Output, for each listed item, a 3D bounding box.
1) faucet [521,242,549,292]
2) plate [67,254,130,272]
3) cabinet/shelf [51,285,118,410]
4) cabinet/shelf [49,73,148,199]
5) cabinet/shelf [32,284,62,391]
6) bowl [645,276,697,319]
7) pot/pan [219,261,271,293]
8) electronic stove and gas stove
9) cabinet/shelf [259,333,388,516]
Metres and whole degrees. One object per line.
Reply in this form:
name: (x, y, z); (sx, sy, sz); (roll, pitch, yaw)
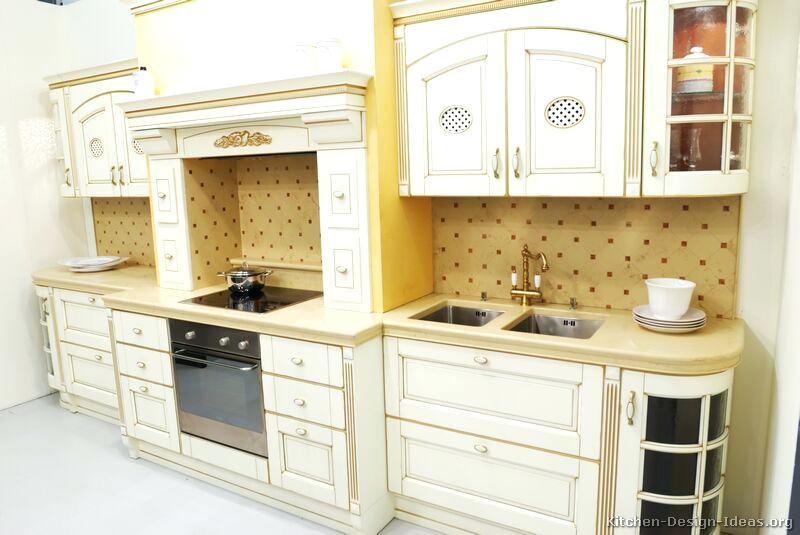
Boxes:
faucet: (0.827, 0.006, 3.727); (0.166, 0.278, 0.144); (1, 16, 18)
plate: (-2.520, -0.025, 5.007); (0.400, 0.097, 0.381); (-14, 17, -36)
cabinet/shelf: (-2.464, 0.645, 4.725); (0.724, 0.942, 0.186); (7, 19, 35)
cabinet/shelf: (-2.242, -1.019, 4.755); (1.108, 0.987, 0.291); (1, 7, 23)
cabinet/shelf: (-2.835, 0.563, 5.007); (0.226, 0.847, 0.175); (-3, 6, -14)
bowl: (1.466, 0.177, 3.293); (0.259, 0.198, 0.254); (-2, 9, 0)
pot/pan: (-1.070, 0.082, 4.264); (0.335, 0.172, 0.234); (1, 10, 12)
electronic stove and gas stove: (-1.019, 0.328, 4.028); (0.544, 0.195, 0.580); (5, 8, 32)
cabinet/shelf: (-0.420, 0.829, 3.850); (0.758, 1.165, 0.752); (13, 22, 36)
